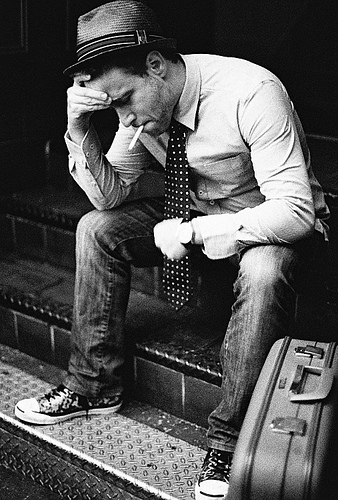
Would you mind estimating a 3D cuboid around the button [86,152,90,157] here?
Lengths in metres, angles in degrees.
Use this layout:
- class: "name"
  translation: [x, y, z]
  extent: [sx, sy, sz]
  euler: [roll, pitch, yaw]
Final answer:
- class: "button"
  translation: [-0.287, -0.337, 1.803]
  extent: [0.014, 0.013, 0.004]
  euler: [-4, 9, -29]

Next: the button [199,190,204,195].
- class: "button"
  translation: [0.108, -0.196, 1.755]
  extent: [0.006, 0.016, 0.018]
  euler: [-11, 17, -41]

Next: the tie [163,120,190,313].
- class: "tie"
  translation: [0.027, -0.141, 1.698]
  extent: [0.067, 0.585, 0.087]
  euler: [12, -27, -33]

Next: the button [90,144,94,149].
- class: "button"
  translation: [-0.274, -0.363, 1.803]
  extent: [0.018, 0.017, 0.004]
  euler: [-2, 5, -25]

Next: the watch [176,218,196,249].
- class: "watch"
  translation: [0.060, -0.056, 1.566]
  extent: [0.026, 0.081, 0.063]
  euler: [-3, -15, -41]

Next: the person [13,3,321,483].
- class: "person"
  translation: [-0.011, -0.049, 1.672]
  extent: [0.911, 1.387, 0.592]
  euler: [9, 16, 34]

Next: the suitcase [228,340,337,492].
- class: "suitcase"
  translation: [0.219, 0.305, 0.970]
  extent: [0.106, 0.279, 0.310]
  euler: [15, 37, 11]

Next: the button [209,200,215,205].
- class: "button"
  translation: [0.146, -0.165, 1.767]
  extent: [0.015, 0.014, 0.004]
  euler: [-2, 2, 12]
